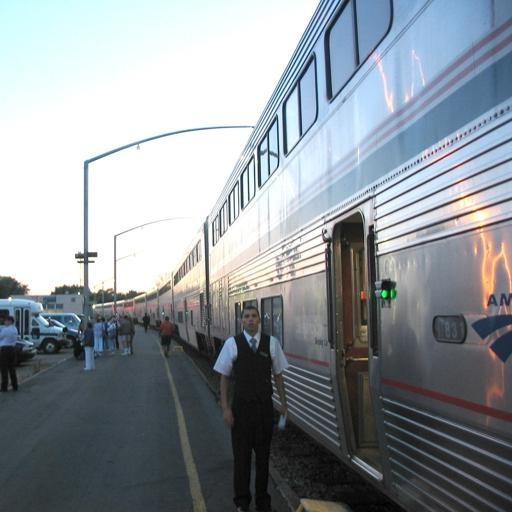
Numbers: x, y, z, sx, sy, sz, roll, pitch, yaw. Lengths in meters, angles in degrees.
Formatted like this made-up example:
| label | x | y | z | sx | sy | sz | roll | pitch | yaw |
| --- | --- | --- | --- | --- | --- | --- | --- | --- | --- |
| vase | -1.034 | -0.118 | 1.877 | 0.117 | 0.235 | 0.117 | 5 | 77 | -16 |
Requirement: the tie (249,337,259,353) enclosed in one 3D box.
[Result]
| label | x | y | z | sx | sy | sz | roll | pitch | yaw |
| --- | --- | --- | --- | --- | --- | --- | --- | --- | --- |
| tie | -0.030 | 0.880 | 4.243 | 0.065 | 0.147 | 0.034 | 2 | -9 | -4 |

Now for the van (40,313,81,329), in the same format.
| label | x | y | z | sx | sy | sz | roll | pitch | yaw |
| --- | --- | --- | --- | --- | --- | --- | --- | --- | --- |
| van | -13.735 | 4.561 | 30.114 | 1.374 | 1.257 | 1.380 | -1 | -1 | 3 |
